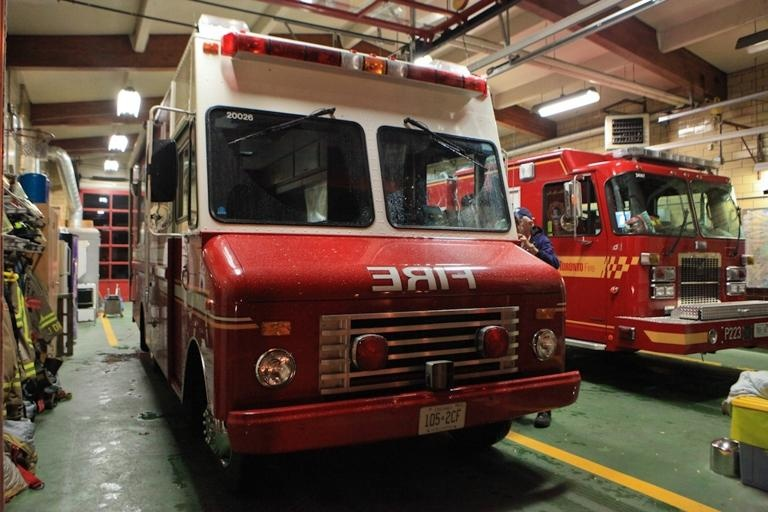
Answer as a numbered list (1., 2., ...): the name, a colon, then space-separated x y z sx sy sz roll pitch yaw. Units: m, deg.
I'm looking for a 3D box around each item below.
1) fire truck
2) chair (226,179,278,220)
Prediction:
1. fire truck: -0.281 -0.072 5.694 4.238 4.853 2.124 -2 5 -17
2. chair: -1.348 -0.523 5.349 0.407 0.341 0.399 1 -2 -30
